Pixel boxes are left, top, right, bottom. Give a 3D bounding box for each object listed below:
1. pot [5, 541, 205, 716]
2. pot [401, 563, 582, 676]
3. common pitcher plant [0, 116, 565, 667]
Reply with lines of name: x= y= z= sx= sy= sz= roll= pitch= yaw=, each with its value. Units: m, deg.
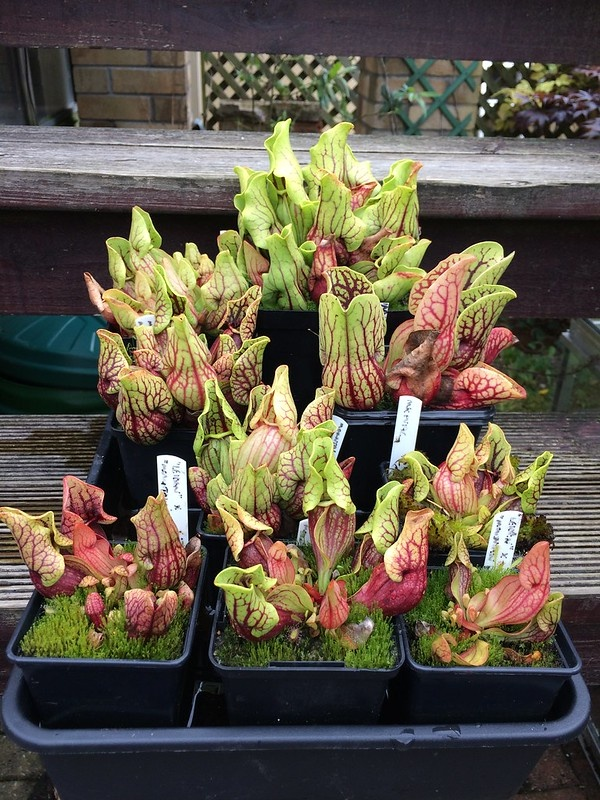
pot: x=-0.221 y=0.287 z=0.828 sx=0.196 sy=0.108 sz=0.161 roll=0 pitch=29 yaw=0
pot: x=0.218 y=0.246 z=0.823 sx=0.184 sy=0.077 sz=0.165 roll=1 pitch=29 yaw=1
common pitcher plant: x=0.002 y=0.026 z=1.048 sx=0.722 sy=0.281 sz=0.794 roll=3 pitch=52 yaw=-7
